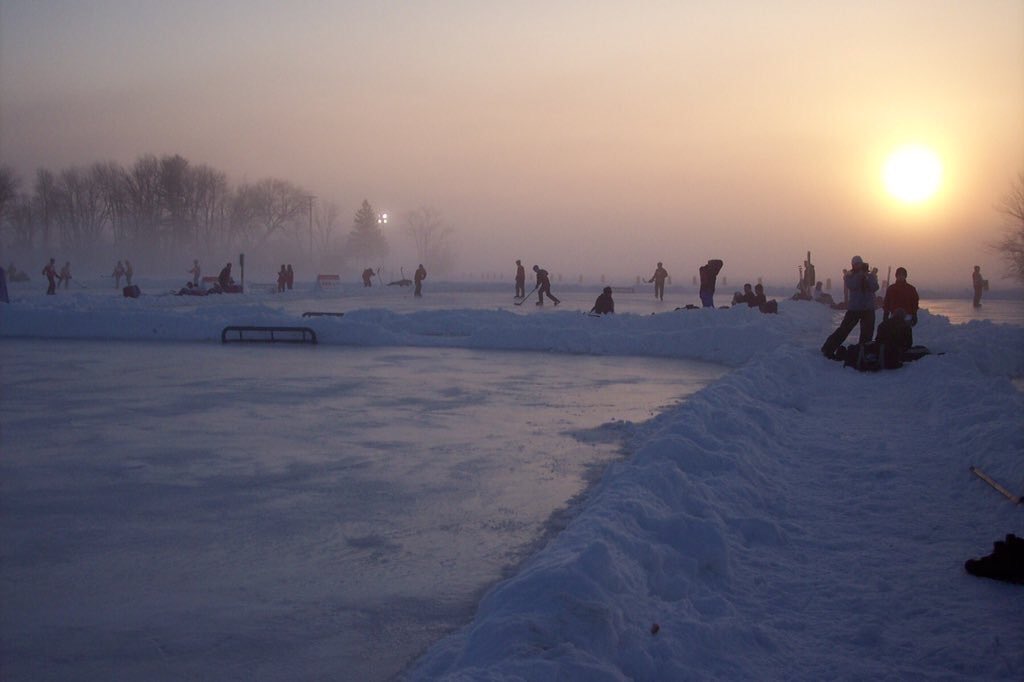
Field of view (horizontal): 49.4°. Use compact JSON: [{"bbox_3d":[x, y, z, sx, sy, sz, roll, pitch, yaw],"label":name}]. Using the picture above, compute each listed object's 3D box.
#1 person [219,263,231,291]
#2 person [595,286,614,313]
[{"bbox_3d":[-13.193,-2.882,50.284,0.401,1.110,0.792,7,-4,-5],"label":"person"},{"bbox_3d":[2.581,-1.063,31.477,0.476,0.360,0.864,5,31,17],"label":"person"}]
